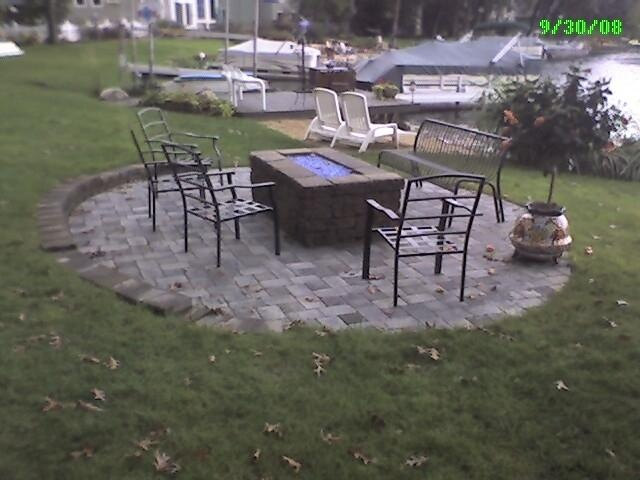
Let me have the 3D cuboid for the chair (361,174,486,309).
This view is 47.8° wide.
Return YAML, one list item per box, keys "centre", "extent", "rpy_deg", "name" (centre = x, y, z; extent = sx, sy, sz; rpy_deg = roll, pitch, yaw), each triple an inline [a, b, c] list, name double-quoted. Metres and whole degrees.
- centre: [1.298, 0.073, 9.203]
  extent: [1.229, 1.804, 1.294]
  rpy_deg: [-5, 27, -12]
  name: "chair"

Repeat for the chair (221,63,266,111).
- centre: [-1.991, -3.984, 18.488]
  extent: [0.982, 0.856, 1.960]
  rpy_deg: [-2, 20, -12]
  name: "chair"

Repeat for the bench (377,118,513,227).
- centre: [1.965, -0.977, 11.080]
  extent: [0.761, 1.058, 2.074]
  rpy_deg: [-7, 20, -17]
  name: "bench"
